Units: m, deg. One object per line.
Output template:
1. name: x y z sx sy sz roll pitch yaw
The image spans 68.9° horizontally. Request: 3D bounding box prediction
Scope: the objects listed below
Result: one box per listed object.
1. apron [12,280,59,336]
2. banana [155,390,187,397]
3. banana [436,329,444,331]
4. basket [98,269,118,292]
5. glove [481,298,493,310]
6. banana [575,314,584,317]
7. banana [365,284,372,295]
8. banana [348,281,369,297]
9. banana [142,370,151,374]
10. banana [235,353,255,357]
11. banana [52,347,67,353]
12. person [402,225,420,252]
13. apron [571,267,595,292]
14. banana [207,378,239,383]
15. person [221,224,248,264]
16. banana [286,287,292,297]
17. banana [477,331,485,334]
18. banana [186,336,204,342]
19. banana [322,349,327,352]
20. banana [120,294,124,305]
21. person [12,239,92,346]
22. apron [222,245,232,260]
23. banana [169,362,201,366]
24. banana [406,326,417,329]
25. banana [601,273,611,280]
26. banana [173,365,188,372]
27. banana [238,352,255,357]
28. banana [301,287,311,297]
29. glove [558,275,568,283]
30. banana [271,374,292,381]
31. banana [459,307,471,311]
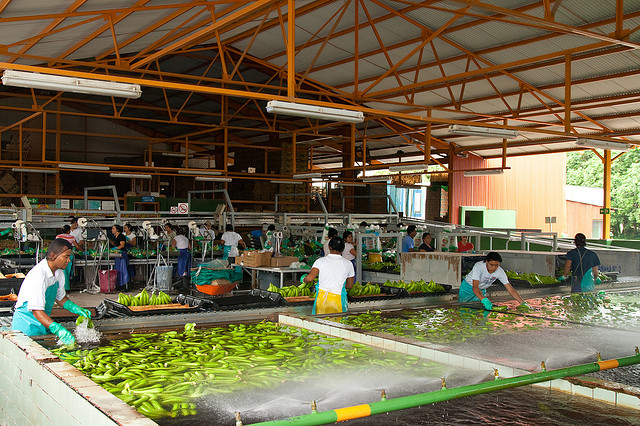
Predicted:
1. apron: -2.988 1.010 4.973 0.436 0.548 0.348 -2 0 -28
2. banana: -1.180 1.465 3.766 0.234 0.033 0.074 -1 0 -16
3. banana: 1.405 1.384 5.516 0.080 0.003 0.089 -1 0 -1
4. basket: -5.444 1.770 12.121 0.621 0.546 0.561 2 -5 -17
5. glove: 2.402 1.311 6.754 0.191 0.167 0.116 -2 0 -13
6. banana: 3.633 1.447 6.610 0.085 0.009 0.200 -2 0 19
7. banana: 0.763 1.209 7.347 0.070 0.156 0.180 -2 0 36
8. banana: 0.592 1.221 7.410 0.429 0.202 0.146 3 -15 -31
9. banana: -1.515 1.408 4.128 0.076 0.024 0.034 -2 0 7
10. banana: -0.718 1.393 4.577 0.159 0.013 0.105 -1 0 -27
11. banana: -2.504 1.340 4.557 0.080 0.018 0.166 -2 0 6
12. person: 2.150 0.585 11.303 0.317 0.622 1.336 -2 0 11
13. apron: 4.997 1.233 8.746 0.308 0.476 0.151 -2 0 -21
14. banana: -0.827 1.445 4.018 0.241 0.011 0.046 -1 0 -8
15. person: -2.352 0.822 12.666 0.485 1.026 1.048 -2 0 -12
16. banana: -0.458 1.219 7.192 0.069 0.118 0.080 -2 0 2
17. banana: 1.860 1.391 5.430 0.064 0.005 0.091 -2 0 34
18. banana: -1.360 1.364 5.072 0.108 0.015 0.221 -2 0 29
19. banana: 0.047 1.399 4.731 0.044 0.006 0.043 -1 0 -8
20. banana: -2.536 1.117 6.055 0.035 0.113 0.114 -2 0 -39
21. person: -2.804 0.812 4.856 0.776 1.043 0.439 -2 0 41
22. apron: -2.535 1.052 12.704 0.207 0.377 0.342 -2 0 -42
23. banana: -1.229 1.406 4.319 0.258 0.029 0.107 -1 0 -8
24. banana: 1.094 1.379 5.621 0.114 0.009 0.082 -1 0 -13
25. banana: 6.081 1.379 10.052 0.147 0.122 0.305 -2 0 30
26. banana: -1.244 1.410 4.240 0.110 0.020 0.161 -1 0 -14
27. banana: -0.711 1.393 4.598 0.159 0.013 0.111 -1 0 -21
28. banana: -0.215 1.249 7.285 0.118 0.101 0.030 17 -26 -31
29. glove: 4.859 1.325 9.431 0.219 0.128 0.201 0 -1 -25
30. banana: -0.328 1.442 4.073 0.176 0.051 0.046 -2 0 23
31. banana: 2.068 1.389 6.773 0.173 0.005 0.203 -1 0 -1
